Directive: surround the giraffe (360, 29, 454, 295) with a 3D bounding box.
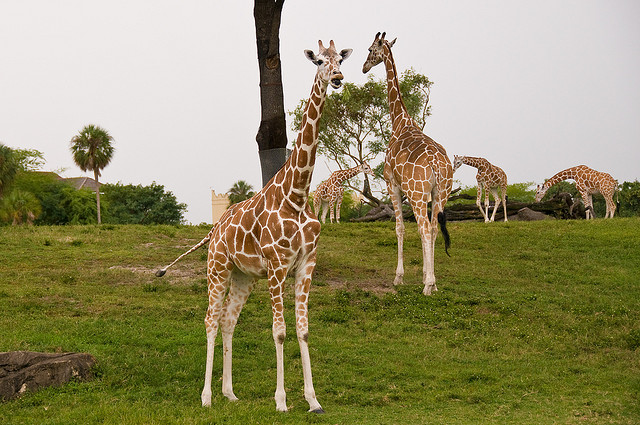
[{"bbox_3d":[3.306,-2.160,27.566,1.906,10.059,5.989,-1,2,-27],"label":"giraffe"}]
